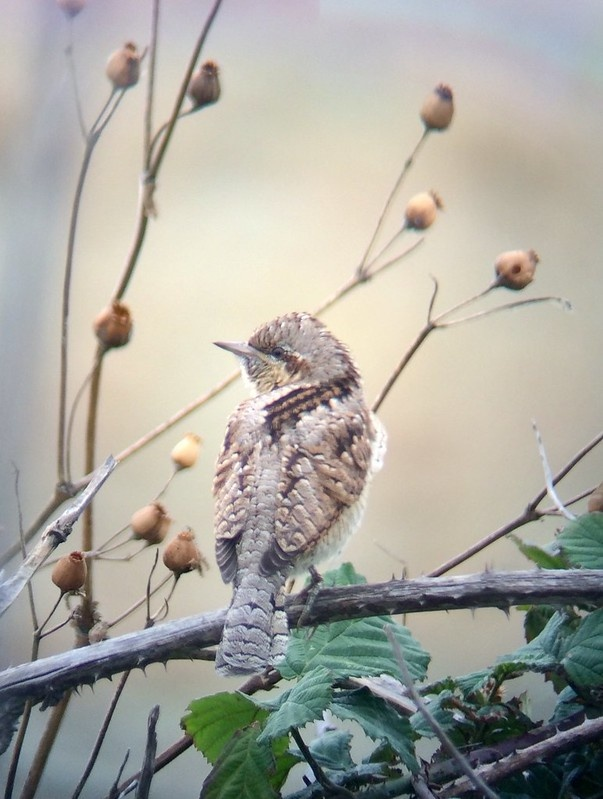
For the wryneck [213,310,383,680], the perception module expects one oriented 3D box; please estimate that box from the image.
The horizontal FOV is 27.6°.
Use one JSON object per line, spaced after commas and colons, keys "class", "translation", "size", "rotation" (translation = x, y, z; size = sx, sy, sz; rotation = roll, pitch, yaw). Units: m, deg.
{"class": "wryneck", "translation": [-0.003, 0.214, 2.856], "size": [0.422, 0.948, 0.281], "rotation": [-7, -45, 3]}
